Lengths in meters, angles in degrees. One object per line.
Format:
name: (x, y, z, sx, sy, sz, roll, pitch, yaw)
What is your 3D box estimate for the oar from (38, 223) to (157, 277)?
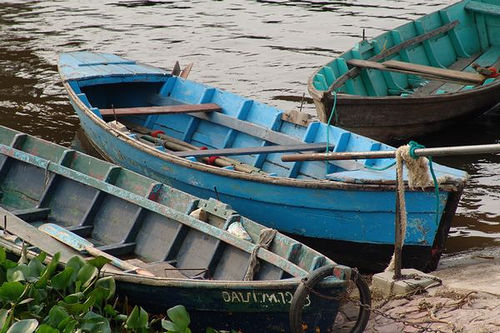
oar: (-3.096, 1.601, 18.797, 2.528, 0.717, 0.348, 9, 2, 23)
